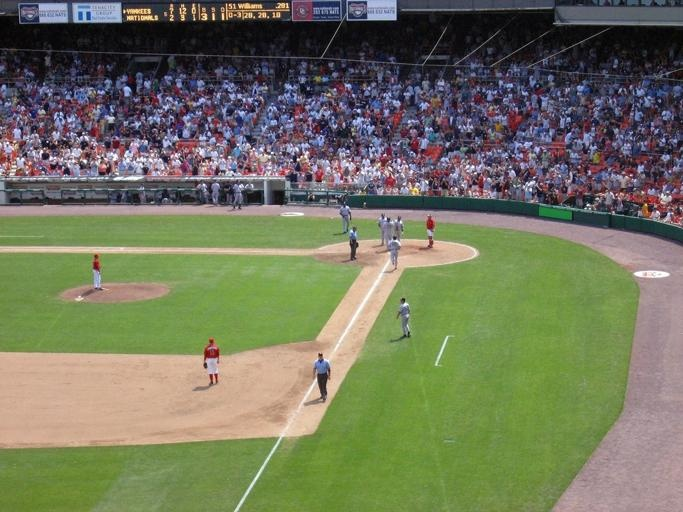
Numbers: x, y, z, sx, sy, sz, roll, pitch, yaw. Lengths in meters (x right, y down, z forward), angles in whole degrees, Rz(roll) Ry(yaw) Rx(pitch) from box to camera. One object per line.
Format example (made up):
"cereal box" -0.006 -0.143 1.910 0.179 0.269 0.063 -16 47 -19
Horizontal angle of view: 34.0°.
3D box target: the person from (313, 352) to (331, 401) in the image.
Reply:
"person" -0.823 5.039 47.274 0.622 2.096 0.836 1 13 -1

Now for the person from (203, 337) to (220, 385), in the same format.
"person" -5.575 4.482 48.364 0.623 2.096 1.017 0 13 -7
